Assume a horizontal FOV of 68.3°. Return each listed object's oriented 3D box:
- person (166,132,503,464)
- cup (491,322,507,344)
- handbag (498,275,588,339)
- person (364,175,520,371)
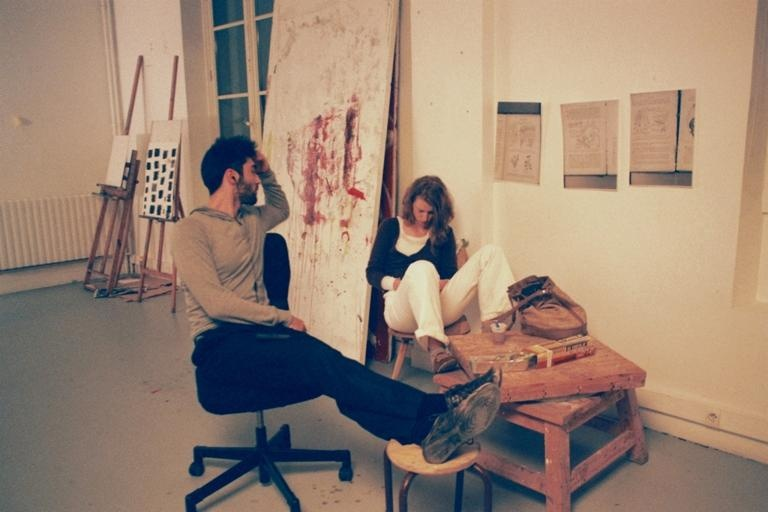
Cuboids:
[{"bbox_3d":[-0.245,0.155,2.996,1.720,1.523,0.855,7,6,20],"label":"person"},{"bbox_3d":[0.648,0.431,3.221,0.104,0.111,0.097,2,8,0],"label":"cup"},{"bbox_3d":[0.945,0.304,3.300,0.319,0.169,0.427,-20,38,-16],"label":"handbag"},{"bbox_3d":[0.334,0.042,3.995,0.937,1.315,1.247,-8,6,-29],"label":"person"}]
